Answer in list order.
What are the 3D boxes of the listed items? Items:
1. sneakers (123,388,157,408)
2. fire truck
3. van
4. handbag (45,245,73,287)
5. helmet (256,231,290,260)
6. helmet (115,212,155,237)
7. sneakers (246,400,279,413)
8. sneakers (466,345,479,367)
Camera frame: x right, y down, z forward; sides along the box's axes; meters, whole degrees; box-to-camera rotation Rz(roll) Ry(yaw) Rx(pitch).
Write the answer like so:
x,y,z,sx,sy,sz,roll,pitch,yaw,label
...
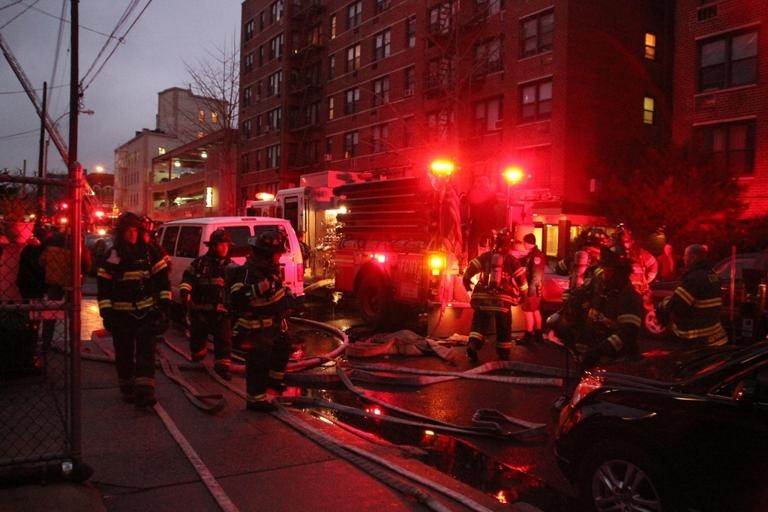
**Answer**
x,y,z,sx,sy,sz,roll,pitch,yaw,label
-3.018,1.763,7.011,0.474,0.215,0.156,8,0,33,sneakers
-0.688,-0.523,14.125,2.808,3.092,6.611,-16,14,-39,fire truck
-3.462,0.046,12.080,1.920,1.589,2.998,-1,4,-33,van
-2.959,0.098,5.130,0.243,0.369,0.200,-3,2,-24,handbag
-1.396,-0.101,7.132,0.376,0.194,0.351,-11,24,-33,helmet
-3.312,-0.438,7.338,0.420,0.197,0.385,0,-4,29,helmet
-1.493,1.834,6.972,0.393,0.158,0.143,1,-1,1,sneakers
1.507,1.687,9.606,0.132,0.281,0.397,0,5,8,sneakers
